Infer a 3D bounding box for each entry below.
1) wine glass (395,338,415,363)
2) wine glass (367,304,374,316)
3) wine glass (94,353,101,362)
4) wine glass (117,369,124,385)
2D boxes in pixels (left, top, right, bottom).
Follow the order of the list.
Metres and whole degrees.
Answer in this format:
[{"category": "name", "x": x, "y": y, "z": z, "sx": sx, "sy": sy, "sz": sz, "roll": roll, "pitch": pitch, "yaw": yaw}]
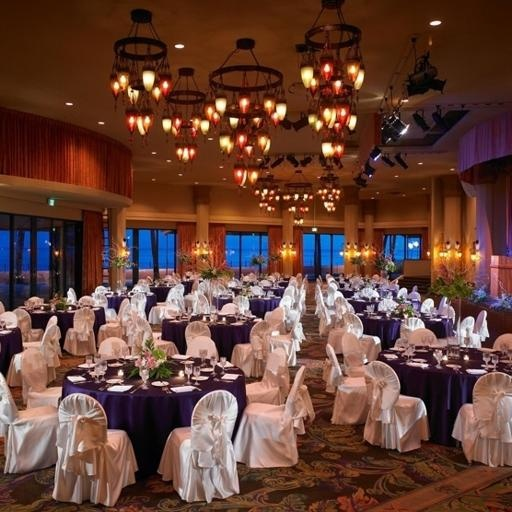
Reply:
[{"category": "wine glass", "x": 1.898, "y": 1.176, "z": 6.109, "sx": 0.195, "sy": 0.418, "sz": 0.209, "roll": -2, "pitch": 1, "yaw": -21}, {"category": "wine glass", "x": 2.348, "y": 1.103, "z": 9.970, "sx": 0.150, "sy": 0.304, "sz": 0.143, "roll": -4, "pitch": -5, "yaw": 42}, {"category": "wine glass", "x": -1.613, "y": 1.032, "z": 4.919, "sx": 0.053, "sy": 0.116, "sz": 0.062, "roll": 0, "pitch": -4, "yaw": -2}, {"category": "wine glass", "x": -1.424, "y": 1.244, "z": 5.071, "sx": 0.064, "sy": 0.152, "sz": 0.080, "roll": 0, "pitch": -2, "yaw": 11}]
